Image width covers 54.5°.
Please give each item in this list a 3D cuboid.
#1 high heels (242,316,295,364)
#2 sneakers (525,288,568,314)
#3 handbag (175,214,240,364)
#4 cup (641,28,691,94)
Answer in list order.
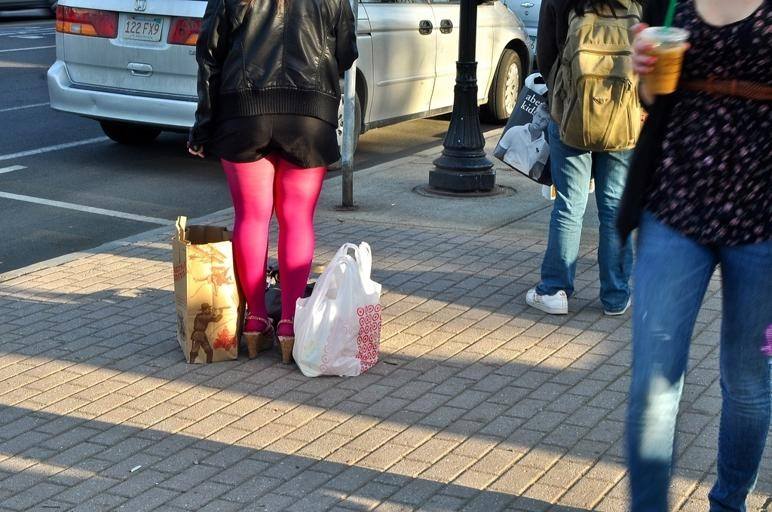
[{"bbox_3d":[-0.772,0.567,5.000,0.190,0.194,0.501,3,14,13],"label":"high heels"},{"bbox_3d":[1.210,0.317,5.714,0.138,0.156,0.347,-9,18,-33],"label":"sneakers"},{"bbox_3d":[-1.170,0.252,4.895,0.548,1.043,0.687,-4,19,-17],"label":"handbag"},{"bbox_3d":[1.068,-0.752,2.887,0.258,0.211,0.265,-5,16,1],"label":"cup"}]
